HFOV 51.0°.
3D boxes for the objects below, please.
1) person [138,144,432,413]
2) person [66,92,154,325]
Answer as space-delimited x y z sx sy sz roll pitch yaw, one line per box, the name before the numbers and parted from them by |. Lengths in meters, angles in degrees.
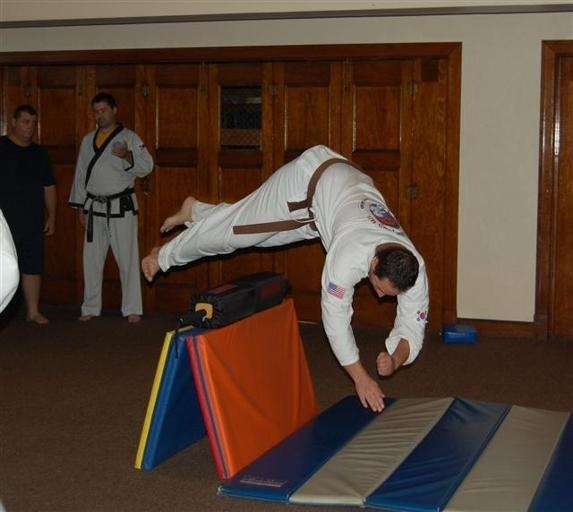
person | -0.077 -0.059 3.283 0.514 1.039 1.922 -7 22 -45
person | -1.430 -0.384 4.938 0.685 1.816 0.397 2 5 34
